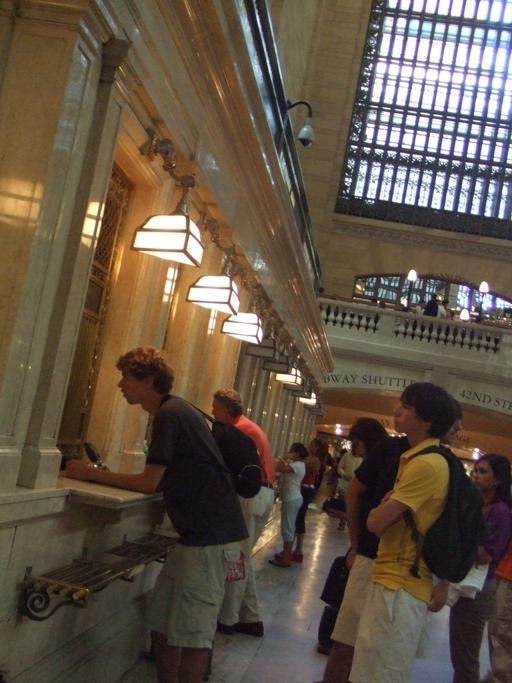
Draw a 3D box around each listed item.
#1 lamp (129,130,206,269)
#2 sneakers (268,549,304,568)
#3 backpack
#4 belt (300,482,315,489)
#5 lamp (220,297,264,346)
[{"bbox_3d":[-0.458,-0.813,2.916,0.388,0.680,0.360,4,-5,41],"label":"lamp"},{"bbox_3d":[0.414,3.042,7.138,0.456,0.153,0.294,3,-3,3],"label":"sneakers"},{"bbox_3d":[0.707,0.637,1.915,0.313,0.434,0.299,5,-11,-30],"label":"backpack"},{"bbox_3d":[0.804,2.261,8.057,0.290,0.064,0.269,3,-9,7],"label":"belt"},{"bbox_3d":[-0.103,-0.186,5.508,0.390,0.616,0.401,7,-7,24],"label":"lamp"}]
